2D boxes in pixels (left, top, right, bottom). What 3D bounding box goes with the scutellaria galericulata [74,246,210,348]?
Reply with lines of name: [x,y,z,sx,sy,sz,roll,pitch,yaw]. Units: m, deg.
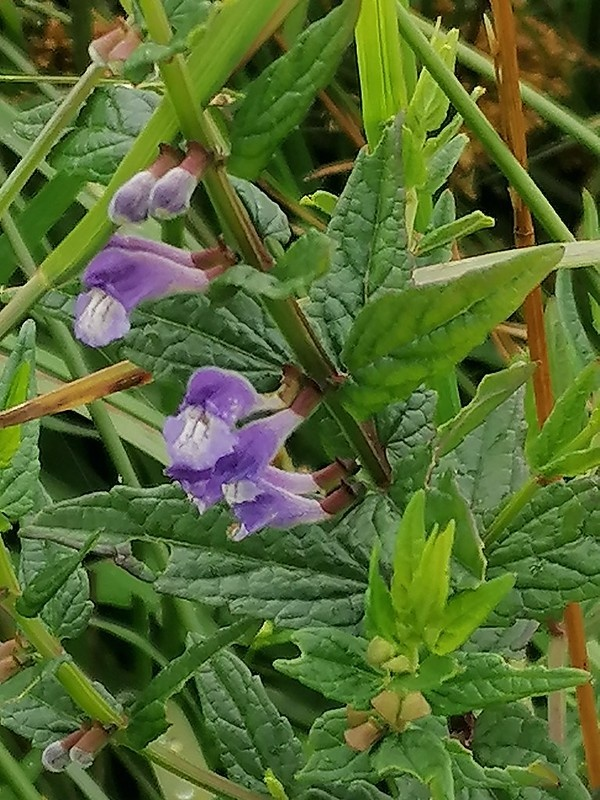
scutellaria galericulata: [-0.056,-0.036,0.296,0.071,0.020,0.020,-16,85,-31]
